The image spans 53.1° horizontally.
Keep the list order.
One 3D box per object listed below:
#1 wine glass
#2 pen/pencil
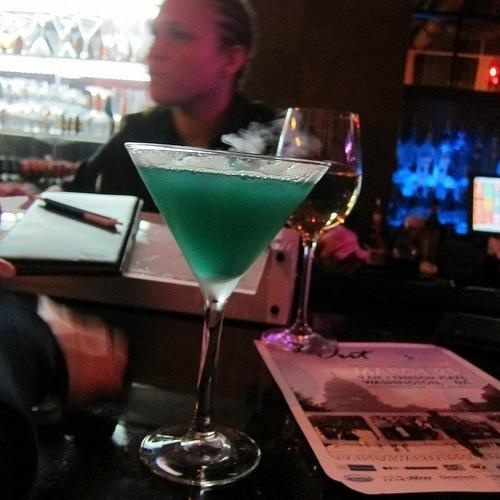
[{"bbox_3d":[0.073,-0.033,0.722,0.165,0.304,0.177,12,8,41],"label":"wine glass"},{"bbox_3d":[-0.263,-0.057,0.751,0.142,0.018,0.018,18,9,13],"label":"pen/pencil"}]
